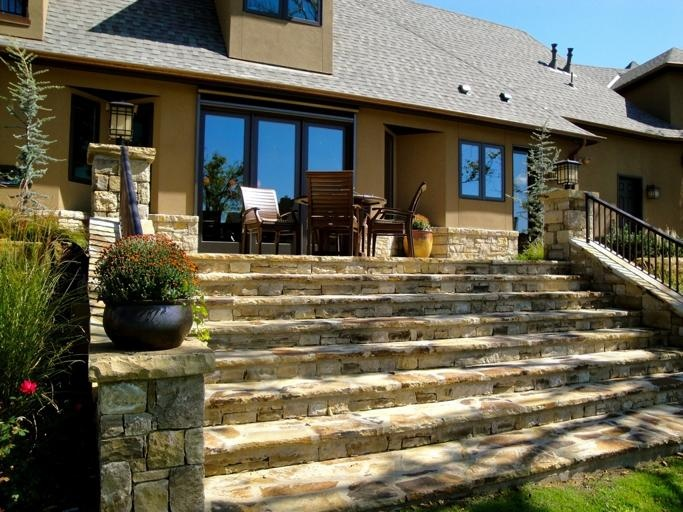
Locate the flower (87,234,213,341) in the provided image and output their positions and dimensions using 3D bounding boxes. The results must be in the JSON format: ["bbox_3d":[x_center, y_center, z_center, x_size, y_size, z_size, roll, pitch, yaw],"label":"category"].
[{"bbox_3d":[-1.554,0.256,4.772,0.888,0.929,0.917,-3,1,-7],"label":"flower"}]

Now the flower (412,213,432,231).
[{"bbox_3d":[1.636,-0.713,11.927,0.345,0.217,0.439,5,7,14],"label":"flower"}]

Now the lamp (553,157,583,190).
[{"bbox_3d":[3.801,-1.389,9.856,0.370,0.551,0.947,4,5,19],"label":"lamp"}]

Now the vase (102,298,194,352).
[{"bbox_3d":[-1.537,0.516,4.615,0.669,0.339,0.683,3,-4,-7],"label":"vase"}]

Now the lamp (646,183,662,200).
[{"bbox_3d":[8.273,-1.711,15.529,0.412,0.560,0.399,3,8,29],"label":"lamp"}]

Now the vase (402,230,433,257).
[{"bbox_3d":[1.521,-0.255,11.665,0.603,0.561,0.561,0,1,10],"label":"vase"}]

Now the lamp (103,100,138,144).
[{"bbox_3d":[-3.049,-1.847,8.101,0.322,0.568,0.308,1,5,-21],"label":"lamp"}]
